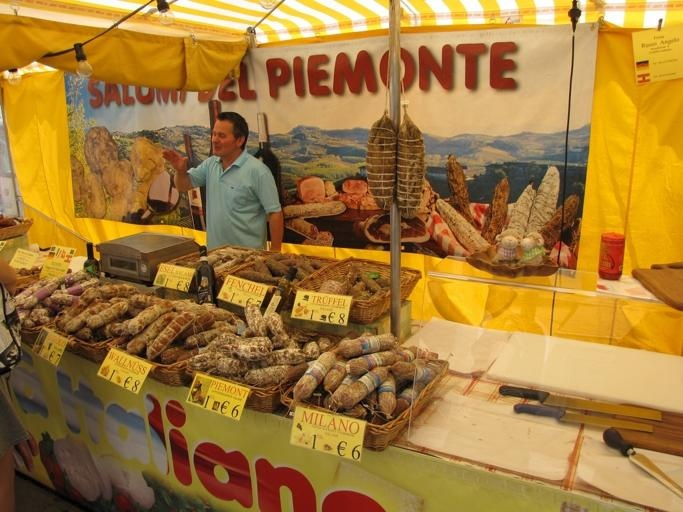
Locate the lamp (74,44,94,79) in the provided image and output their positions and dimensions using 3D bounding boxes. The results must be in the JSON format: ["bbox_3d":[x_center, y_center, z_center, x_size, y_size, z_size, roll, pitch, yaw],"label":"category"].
[{"bbox_3d":[-1.702,-1.293,3.274,0.097,0.205,0.093,-18,19,-41],"label":"lamp"}]

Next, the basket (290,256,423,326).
[{"bbox_3d":[0.085,0.192,2.867,0.539,0.228,0.644,2,12,23],"label":"basket"}]

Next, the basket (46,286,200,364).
[{"bbox_3d":[-1.321,0.334,2.822,0.504,0.148,0.512,19,31,36],"label":"basket"}]

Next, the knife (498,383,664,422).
[{"bbox_3d":[1.059,0.632,2.111,0.537,0.061,0.108,4,44,23],"label":"knife"}]

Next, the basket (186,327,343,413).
[{"bbox_3d":[-0.438,0.518,2.356,0.438,0.117,0.443,7,15,24],"label":"basket"}]

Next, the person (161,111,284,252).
[{"bbox_3d":[-1.026,-0.674,4.470,0.966,1.216,0.437,-1,12,8],"label":"person"}]

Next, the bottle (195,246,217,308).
[{"bbox_3d":[-0.859,0.104,3.070,0.143,0.361,0.321,-6,12,-17],"label":"bottle"}]

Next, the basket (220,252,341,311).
[{"bbox_3d":[-0.421,0.097,2.990,0.439,0.138,0.457,7,16,25],"label":"basket"}]

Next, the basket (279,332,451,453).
[{"bbox_3d":[0.137,0.579,2.285,0.505,0.371,0.665,5,14,36],"label":"basket"}]

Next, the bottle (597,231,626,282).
[{"bbox_3d":[1.701,0.014,3.069,0.195,0.268,0.191,1,11,0],"label":"bottle"}]

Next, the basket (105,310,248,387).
[{"bbox_3d":[-0.832,0.446,2.619,0.405,0.157,0.474,12,22,26],"label":"basket"}]
